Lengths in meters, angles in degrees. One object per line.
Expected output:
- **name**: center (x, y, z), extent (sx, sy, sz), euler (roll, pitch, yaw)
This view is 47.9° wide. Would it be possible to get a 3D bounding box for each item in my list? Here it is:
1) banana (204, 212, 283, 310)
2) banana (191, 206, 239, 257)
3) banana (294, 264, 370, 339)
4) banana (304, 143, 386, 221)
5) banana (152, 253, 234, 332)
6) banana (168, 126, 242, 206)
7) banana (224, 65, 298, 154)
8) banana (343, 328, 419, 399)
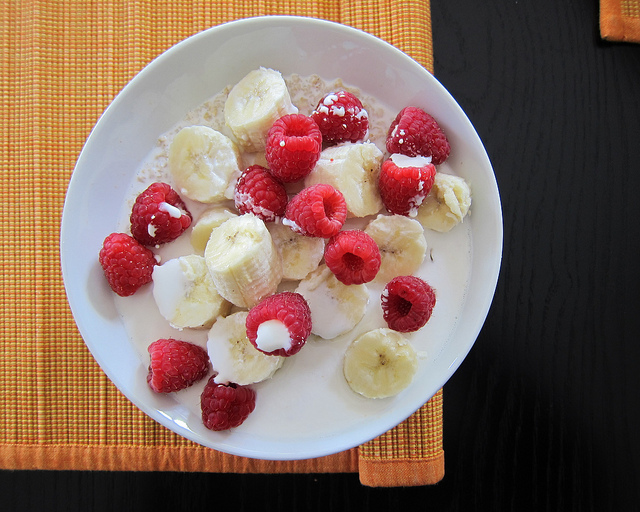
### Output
- **banana**: center (-0.176, 0.001, 1.772), extent (0.171, 0.204, 0.206), euler (-24, 45, 1)
- **banana**: center (-0.261, -0.039, 1.767), extent (0.110, 0.118, 0.074), euler (-20, 36, -22)
- **banana**: center (0.019, 0.111, 1.740), extent (0.165, 0.054, 0.202), euler (17, 62, 13)
- **banana**: center (0.081, -0.188, 1.710), extent (0.161, 0.194, 0.045), euler (1, 7, -27)
- **banana**: center (-0.298, 0.088, 1.748), extent (0.149, 0.180, 0.148), euler (17, 36, 25)
- **banana**: center (-0.279, -0.217, 1.731), extent (0.176, 0.039, 0.171), euler (5, 86, 0)
- **banana**: center (-0.118, -0.356, 1.765), extent (0.182, 0.112, 0.194), euler (-41, 49, 14)
- **banana**: center (0.146, 0.256, 1.724), extent (0.182, 0.037, 0.158), euler (-14, 86, -1)
